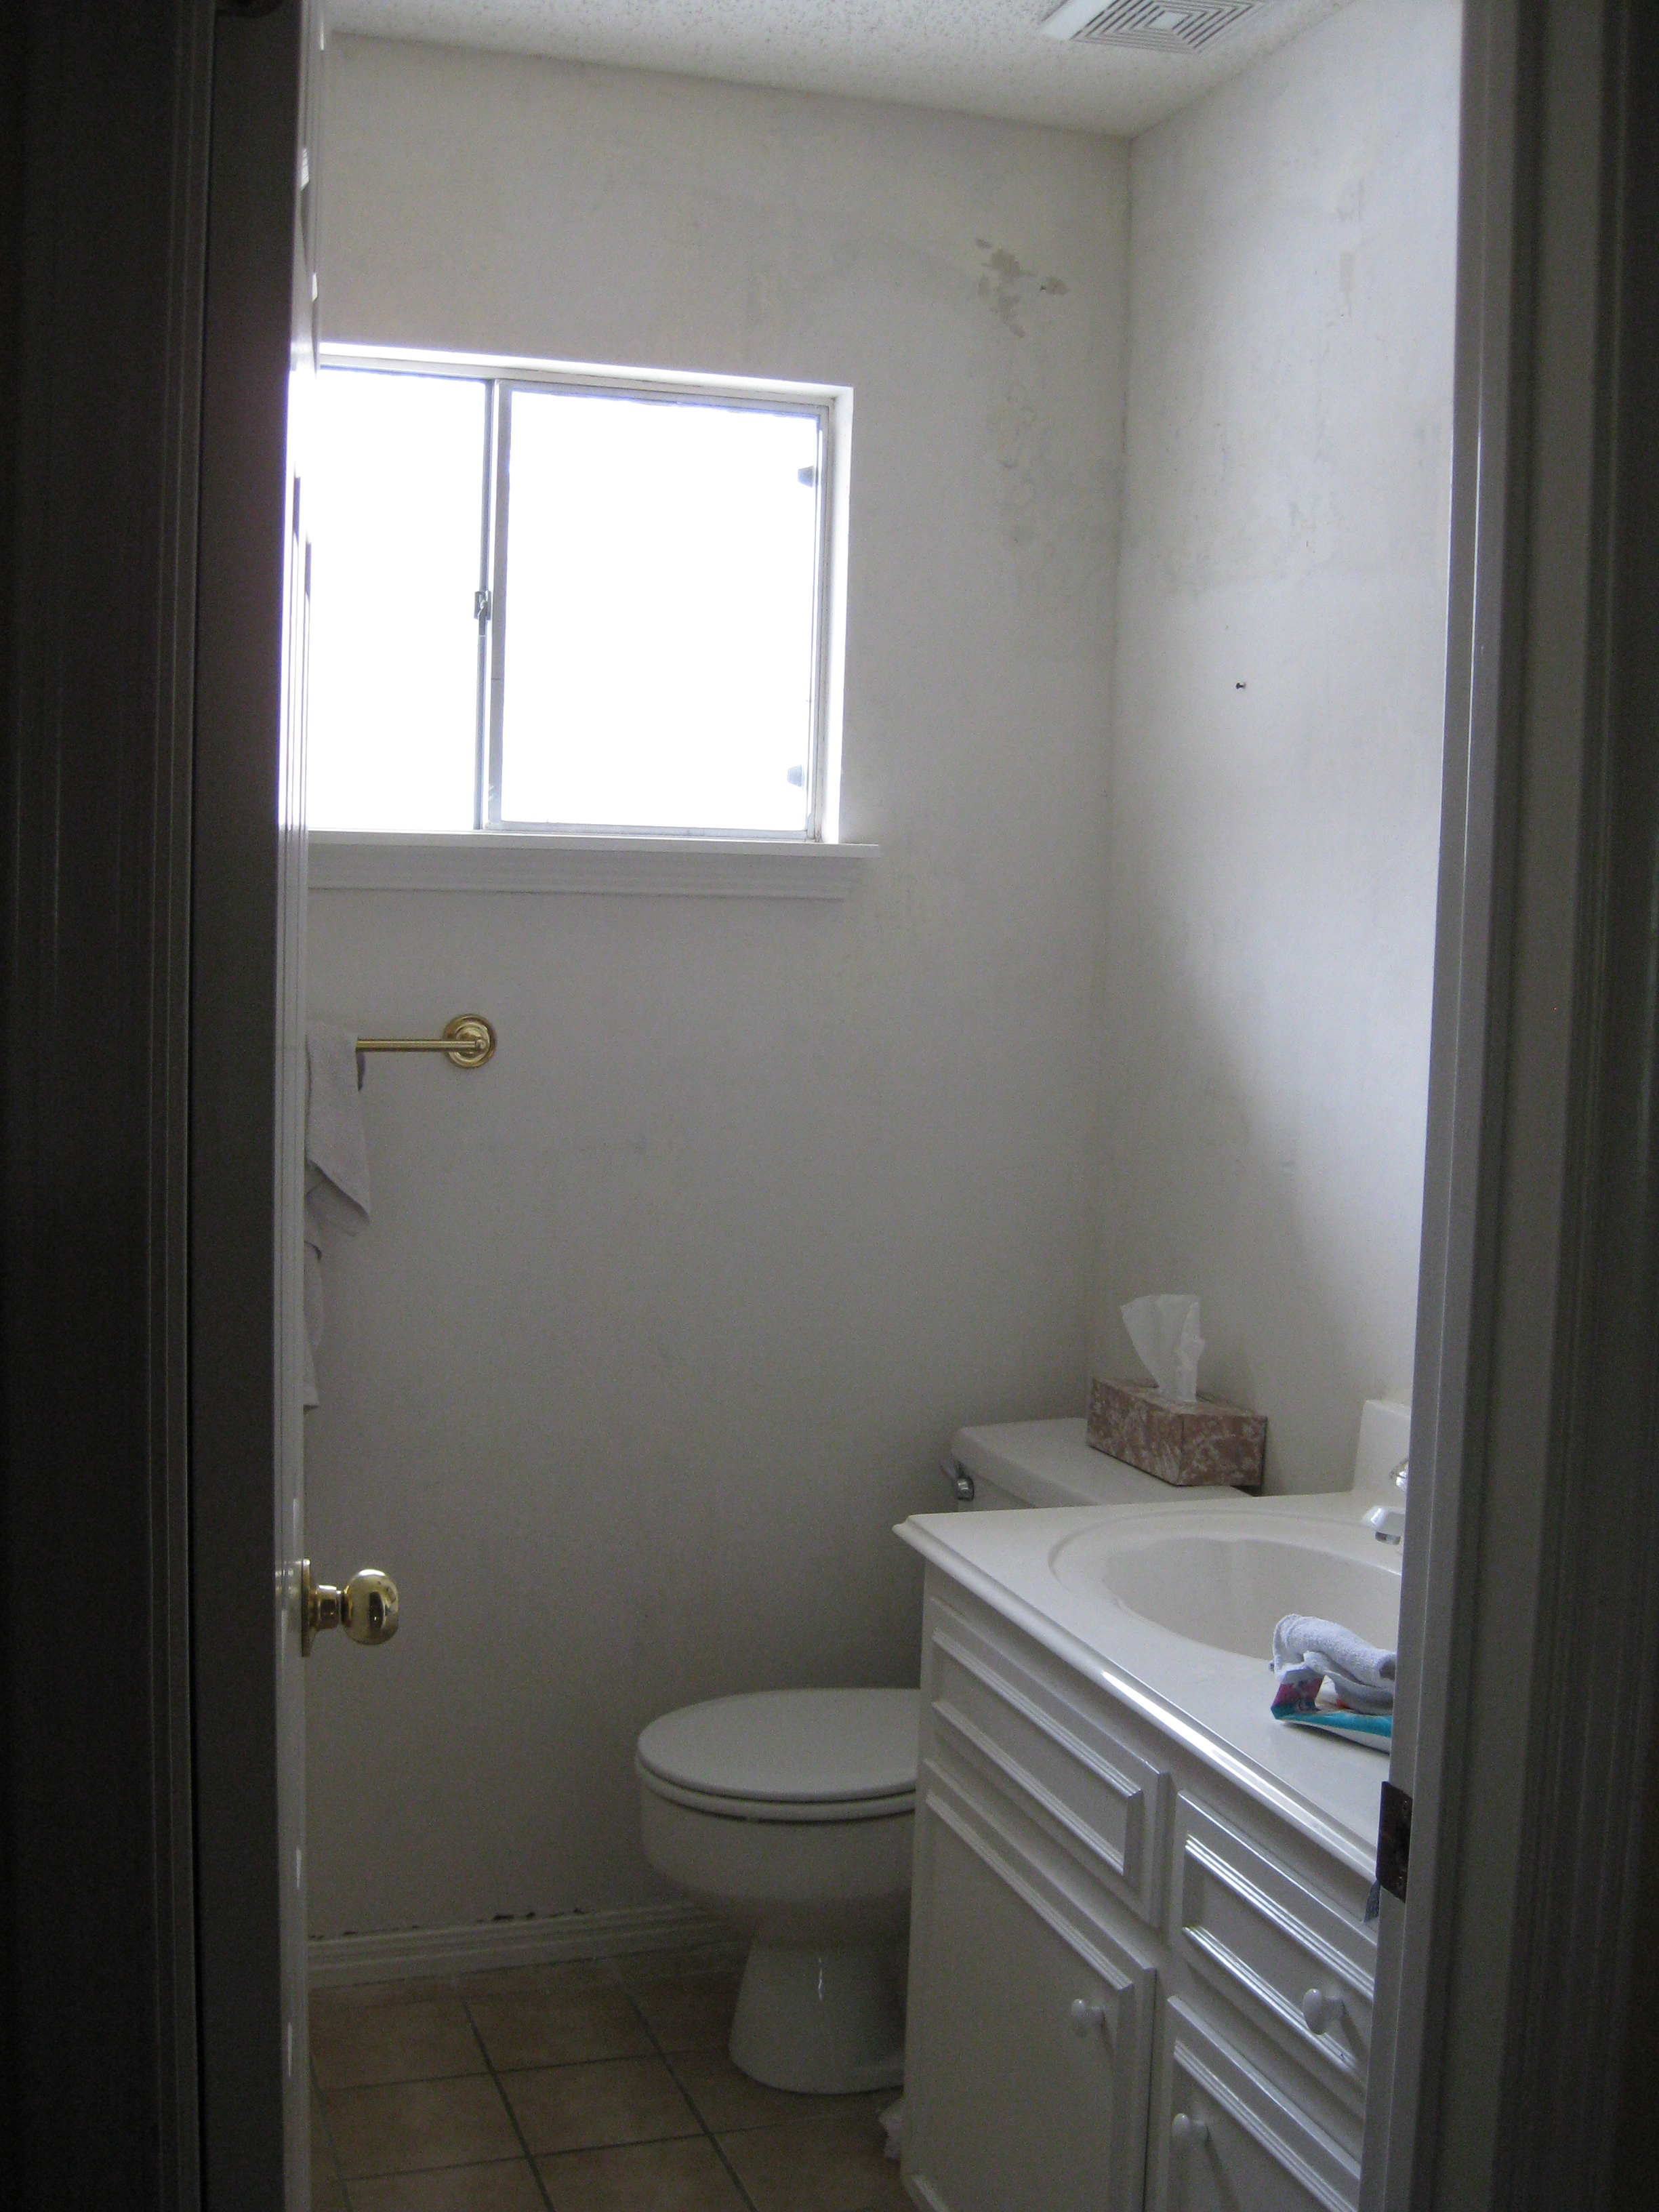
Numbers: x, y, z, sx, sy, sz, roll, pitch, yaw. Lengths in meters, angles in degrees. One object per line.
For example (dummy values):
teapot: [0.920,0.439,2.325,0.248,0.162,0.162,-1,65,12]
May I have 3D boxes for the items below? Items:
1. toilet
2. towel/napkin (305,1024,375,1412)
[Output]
toilet: [0.101,0.840,2.371,0.618,1.072,0.563,2,0,-19]
towel/napkin: [-0.632,0.144,2.355,0.073,0.485,0.149,0,2,-17]
